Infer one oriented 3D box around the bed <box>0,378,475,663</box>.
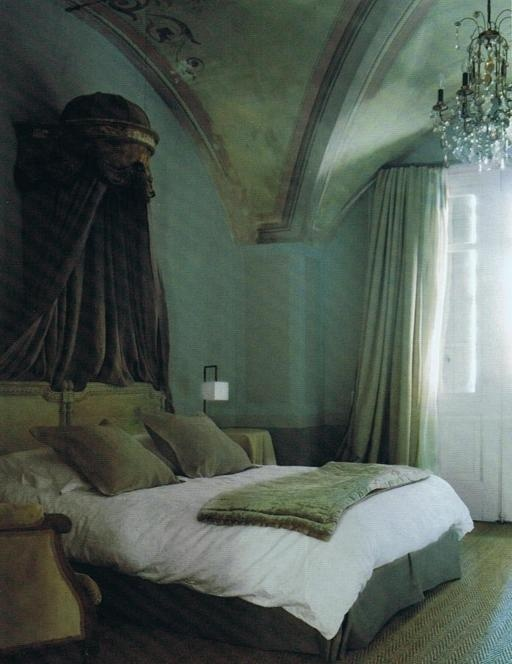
[{"bbox_3d":[-0.194,0.847,3.515,1.544,0.745,1.477,-3,-3,24],"label":"bed"}]
